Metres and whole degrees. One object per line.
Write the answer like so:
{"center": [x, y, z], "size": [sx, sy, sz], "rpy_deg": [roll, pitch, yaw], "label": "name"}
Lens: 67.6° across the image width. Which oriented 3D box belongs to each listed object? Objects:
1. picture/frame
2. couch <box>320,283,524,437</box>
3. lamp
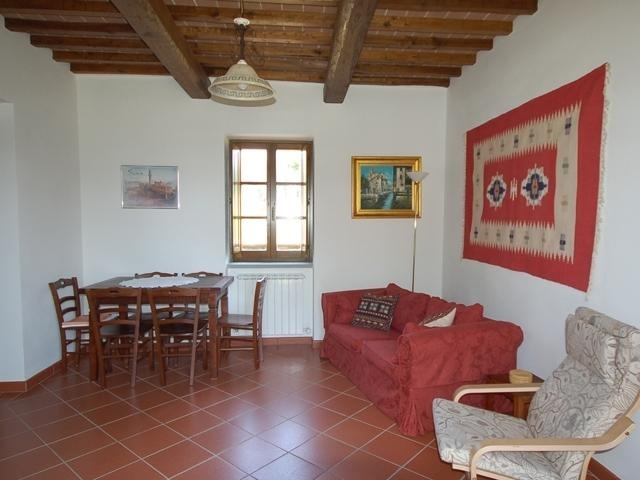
{"center": [0.775, -0.685, 5.914], "size": [0.724, 0.655, 0.062], "rpy_deg": [-1, 4, -2], "label": "picture/frame"}
{"center": [1.035, 0.702, 4.569], "size": [1.035, 0.950, 1.894], "rpy_deg": [0, 2, -19], "label": "couch"}
{"center": [-0.689, -1.656, 4.206], "size": [0.539, 0.917, 1.086], "rpy_deg": [-2, 12, -7], "label": "lamp"}
